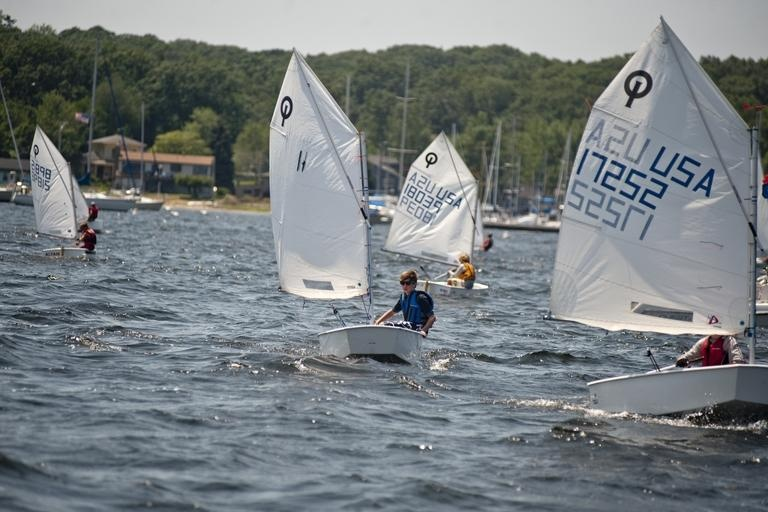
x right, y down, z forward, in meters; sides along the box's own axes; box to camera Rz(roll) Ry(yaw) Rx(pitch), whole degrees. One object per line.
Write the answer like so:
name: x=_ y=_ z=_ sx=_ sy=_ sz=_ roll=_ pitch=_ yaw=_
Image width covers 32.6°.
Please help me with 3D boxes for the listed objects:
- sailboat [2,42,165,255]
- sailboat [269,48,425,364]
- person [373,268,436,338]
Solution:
sailboat: x=-10.472 y=-2.145 z=50.460 sx=7.862 sy=9.338 sz=1.913 roll=-1 pitch=7 yaw=12
sailboat: x=-1.219 y=-1.698 z=37.264 sx=3.432 sy=10.028 sz=4.136 roll=-1 pitch=14 yaw=43
person: x=0.727 y=1.300 z=36.455 sx=1.387 sy=1.811 sz=1.020 roll=4 pitch=7 yaw=1
